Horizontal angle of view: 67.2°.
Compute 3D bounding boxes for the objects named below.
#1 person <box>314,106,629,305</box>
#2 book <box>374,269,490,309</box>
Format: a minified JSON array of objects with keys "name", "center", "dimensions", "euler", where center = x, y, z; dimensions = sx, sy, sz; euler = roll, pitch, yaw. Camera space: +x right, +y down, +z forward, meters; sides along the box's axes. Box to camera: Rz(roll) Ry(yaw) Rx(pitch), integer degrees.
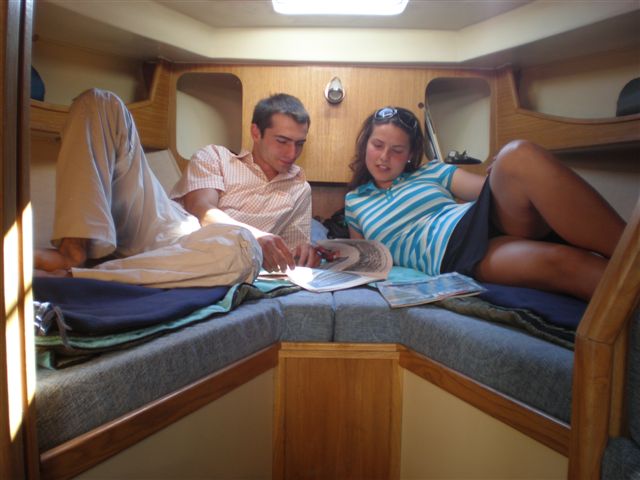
[{"name":"person","center":[0.500,-0.173,1.589],"dimensions":[0.409,0.566,1.112],"euler":[-5,13,-25]},{"name":"book","center":[0.283,0.123,1.284],"dimensions":[0.255,0.053,0.218],"euler":[1,12,0]}]
